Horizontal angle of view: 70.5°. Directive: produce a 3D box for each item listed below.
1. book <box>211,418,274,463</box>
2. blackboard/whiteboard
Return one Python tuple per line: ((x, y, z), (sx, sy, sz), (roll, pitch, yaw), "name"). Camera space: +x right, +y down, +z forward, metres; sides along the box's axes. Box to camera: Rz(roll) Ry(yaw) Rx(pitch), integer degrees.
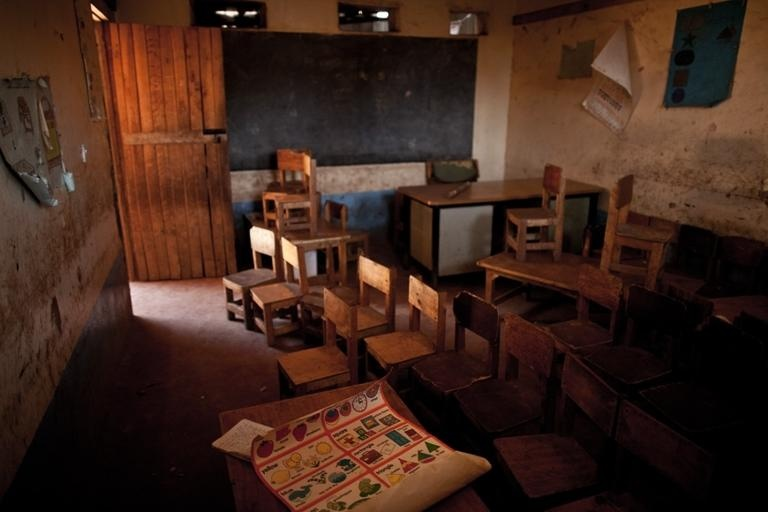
((-0.873, 1.117, 3.304), (0.234, 0.054, 0.234), (16, 30, 29), "book")
((-0.616, -2.292, 7.817), (2.853, 1.252, 0.035), (-4, 15, -19), "blackboard/whiteboard")
